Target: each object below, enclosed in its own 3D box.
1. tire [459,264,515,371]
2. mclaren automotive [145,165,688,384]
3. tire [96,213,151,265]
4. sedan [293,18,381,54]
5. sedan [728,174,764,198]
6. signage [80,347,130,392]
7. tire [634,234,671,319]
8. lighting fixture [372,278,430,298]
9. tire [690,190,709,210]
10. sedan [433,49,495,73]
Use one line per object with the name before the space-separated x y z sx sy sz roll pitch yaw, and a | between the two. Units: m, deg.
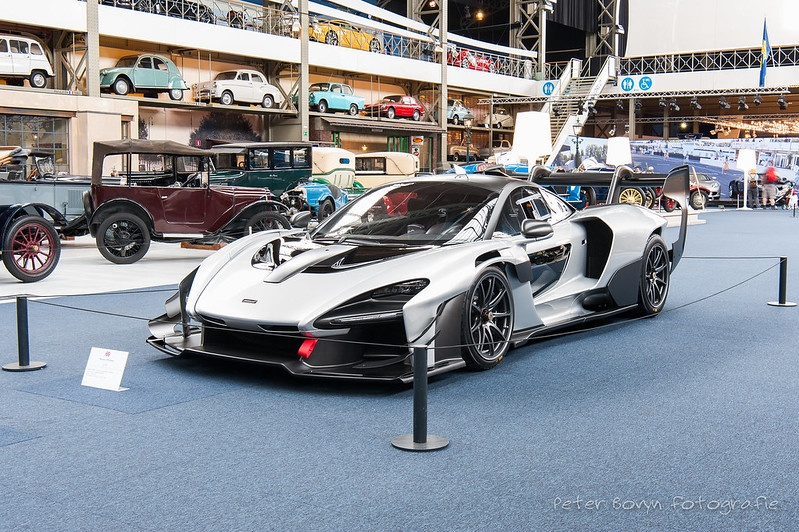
tire | 0.740 0.434 4.569 0.200 0.790 0.681 -2 -23 40
mclaren automotive | 0.575 0.120 5.239 2.367 1.220 3.957 1 3 44
tire | -5.822 -0.621 11.240 0.879 0.896 0.307 13 3 -27
sedan | -3.463 -14.234 32.627 3.846 1.058 2.107 -5 15 -33
sedan | 19.833 -4.572 30.476 1.599 1.293 0.743 5 9 34
signage | -2.274 0.795 4.096 0.144 0.298 0.418 1 -17 11
tire | 3.095 0.127 6.537 0.359 1.143 1.016 -1 1 39
lighting fixture | 0.008 0.172 4.131 0.350 0.096 0.072 -7 -34 -14
tire | 15.189 -3.398 27.020 0.662 0.948 2.414 4 9 28
sedan | 5.306 -15.806 40.675 3.653 1.007 2.201 -4 18 -29
